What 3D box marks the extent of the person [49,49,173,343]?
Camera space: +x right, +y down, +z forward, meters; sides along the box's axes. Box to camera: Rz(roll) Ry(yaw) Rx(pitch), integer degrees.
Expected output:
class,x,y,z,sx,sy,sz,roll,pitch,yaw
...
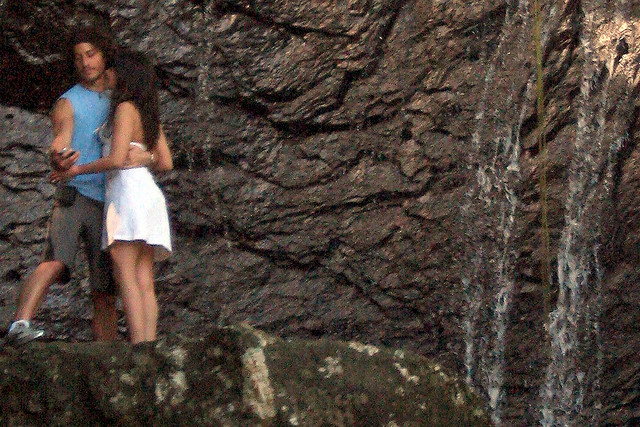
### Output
class,x,y,z,sx,sy,sz,roll,pitch,yaw
person,-1.576,-0.155,9.635,0.740,2.105,0.309,4,-1,-9

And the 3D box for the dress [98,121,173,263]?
class,x,y,z,sx,sy,sz,roll,pitch,yaw
dress,-1.540,-0.161,9.614,0.471,1.214,0.579,-6,-31,0
